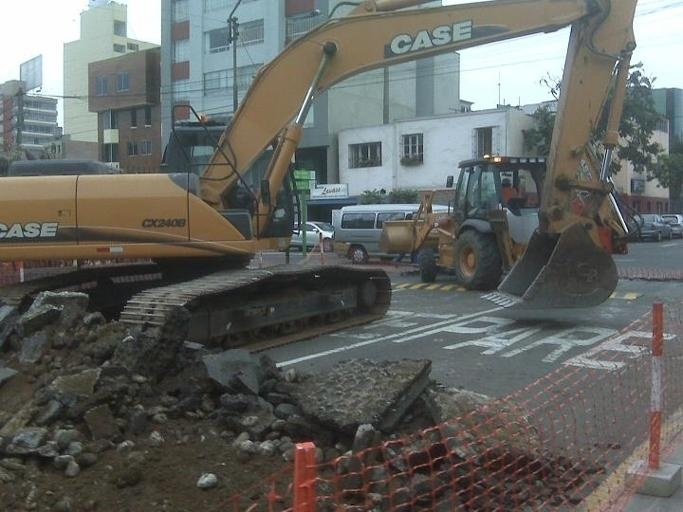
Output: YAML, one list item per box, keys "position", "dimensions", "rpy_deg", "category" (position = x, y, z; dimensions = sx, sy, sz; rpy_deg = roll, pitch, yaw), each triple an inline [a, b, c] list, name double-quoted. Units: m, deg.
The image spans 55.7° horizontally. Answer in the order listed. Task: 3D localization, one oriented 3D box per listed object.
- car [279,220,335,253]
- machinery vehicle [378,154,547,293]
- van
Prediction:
- position: [-1.286, -0.891, 29.830]
  dimensions: [2.121, 1.266, 1.379]
  rpy_deg: [-3, 2, 11]
  category: "car"
- position: [3.082, -0.718, 16.208]
  dimensions: [2.387, 2.894, 4.949]
  rpy_deg: [3, -1, -23]
  category: "machinery vehicle"
- position: [1.351, -0.675, 23.709]
  dimensions: [3.544, 1.936, 2.089]
  rpy_deg: [-2, 1, 26]
  category: "van"
